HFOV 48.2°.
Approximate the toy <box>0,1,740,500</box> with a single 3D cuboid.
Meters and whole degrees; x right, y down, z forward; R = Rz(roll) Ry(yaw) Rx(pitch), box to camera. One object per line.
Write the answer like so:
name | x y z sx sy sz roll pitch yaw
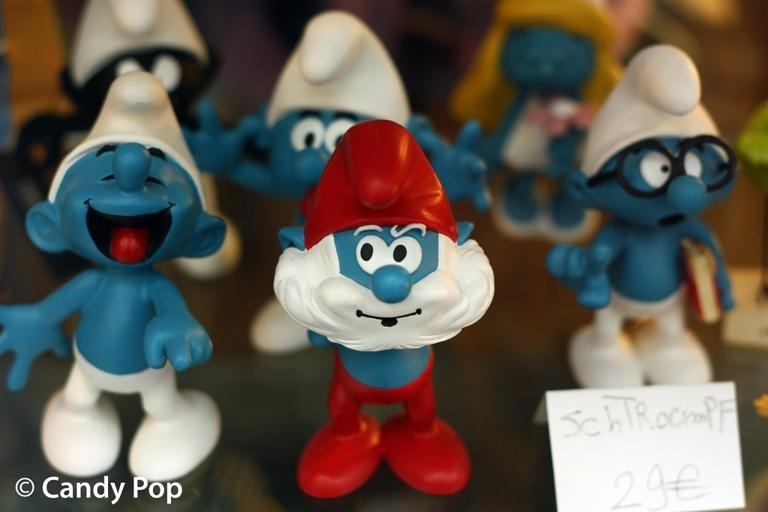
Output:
toy | -0.258 -0.008 1.566 0.909 0.731 0.526 10 32 4
